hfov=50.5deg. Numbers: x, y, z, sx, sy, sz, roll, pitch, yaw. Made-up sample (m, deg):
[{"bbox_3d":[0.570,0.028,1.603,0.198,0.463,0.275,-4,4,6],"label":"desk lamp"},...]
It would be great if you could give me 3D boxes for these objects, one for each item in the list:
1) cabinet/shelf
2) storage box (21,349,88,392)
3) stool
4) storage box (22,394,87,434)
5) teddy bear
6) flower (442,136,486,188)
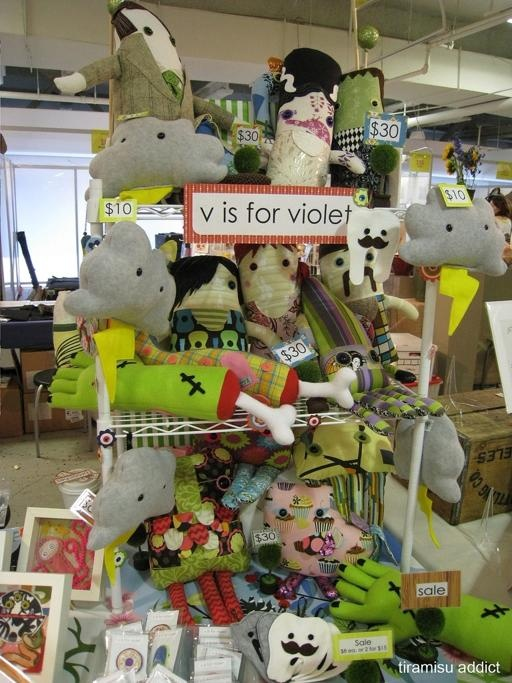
[{"bbox_3d":[0.151,0.092,1.655,0.911,1.118,0.355,0,-13,-4],"label":"cabinet/shelf"},{"bbox_3d":[-1.274,0.131,3.518,0.419,0.362,0.210,-3,8,-32],"label":"storage box"},{"bbox_3d":[-1.187,0.384,3.230,0.292,0.313,0.270,-10,-4,5],"label":"stool"},{"bbox_3d":[-1.331,0.474,3.646,0.446,0.278,0.232,-11,-18,-6],"label":"storage box"},{"bbox_3d":[-0.161,0.003,1.675,1.161,1.411,0.425,-1,3,-8],"label":"teddy bear"},{"bbox_3d":[0.920,-0.798,2.441,0.150,0.187,0.195,4,14,42],"label":"flower"}]
